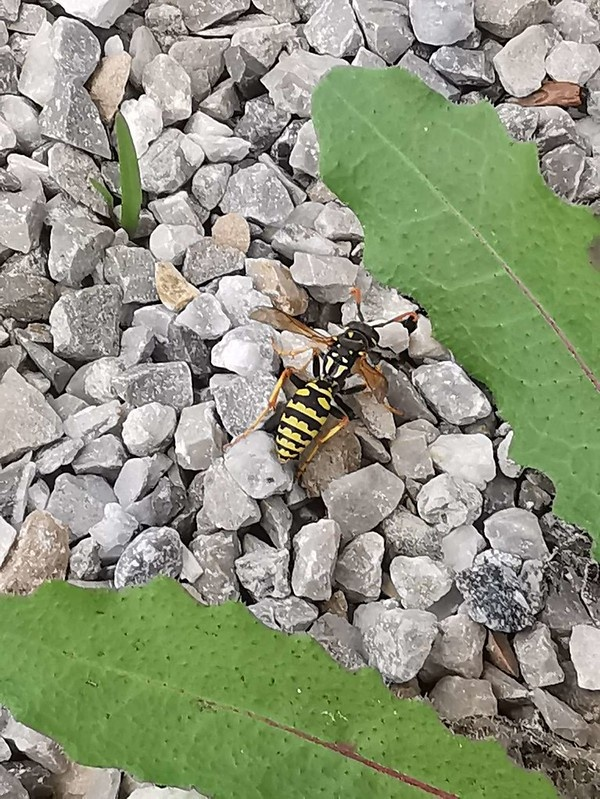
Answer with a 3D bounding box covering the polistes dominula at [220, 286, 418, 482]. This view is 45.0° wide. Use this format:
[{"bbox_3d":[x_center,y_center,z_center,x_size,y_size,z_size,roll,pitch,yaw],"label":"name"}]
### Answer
[{"bbox_3d":[0.050,-0.045,1.391,0.345,0.096,0.392,38,69,5],"label":"polistes dominula"}]
